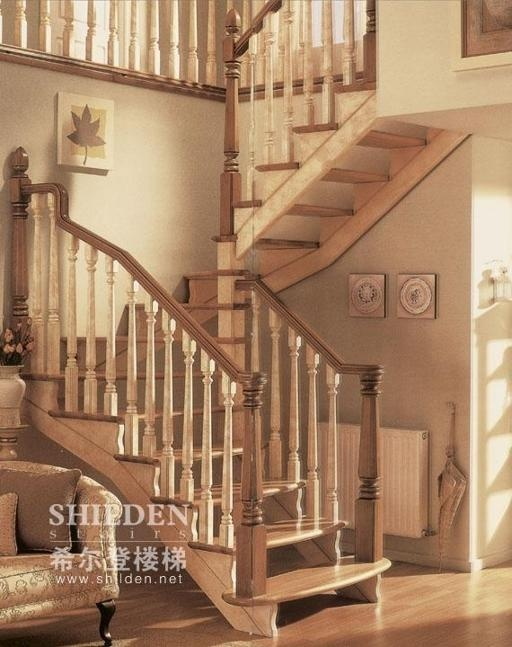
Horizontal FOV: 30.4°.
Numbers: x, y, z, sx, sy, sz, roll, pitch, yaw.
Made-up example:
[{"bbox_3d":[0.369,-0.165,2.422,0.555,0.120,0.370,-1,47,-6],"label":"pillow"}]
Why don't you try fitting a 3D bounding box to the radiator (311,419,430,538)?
[{"bbox_3d":[0.649,0.852,5.141,0.787,0.738,0.092,-1,-1,34],"label":"radiator"}]
